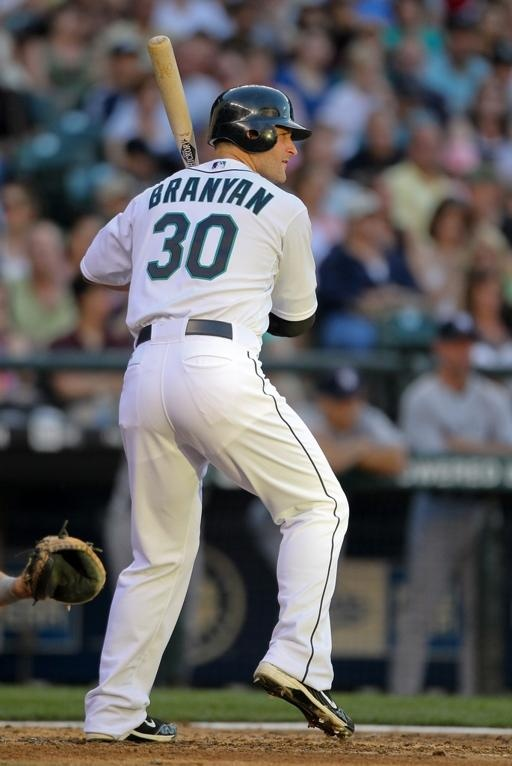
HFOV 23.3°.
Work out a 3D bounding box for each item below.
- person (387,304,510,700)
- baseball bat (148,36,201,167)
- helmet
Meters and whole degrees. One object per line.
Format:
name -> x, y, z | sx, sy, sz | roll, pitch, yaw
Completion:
person -> 1.063, 0.684, 6.721 | 0.603, 1.702, 1.183 | 2, 30, 6
baseball bat -> -0.269, -0.905, 4.152 | 0.090, 0.575, 0.075 | -13, 54, 1
helmet -> 0.055, -0.813, 3.849 | 0.322, 0.188, 0.213 | 1, 12, 36
